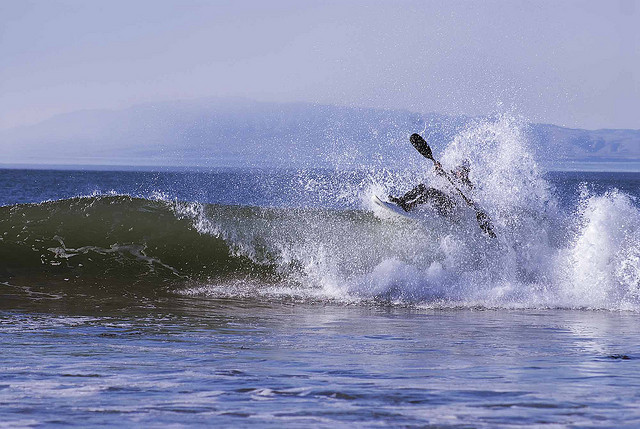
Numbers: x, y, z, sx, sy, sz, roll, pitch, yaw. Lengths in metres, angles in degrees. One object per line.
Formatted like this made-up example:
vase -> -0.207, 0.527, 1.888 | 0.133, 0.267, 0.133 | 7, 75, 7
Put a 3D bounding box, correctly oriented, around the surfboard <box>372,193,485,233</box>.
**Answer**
surfboard -> 2.977, 0.018, 26.258 | 3.772, 0.771, 0.470 | 8, 13, 10
